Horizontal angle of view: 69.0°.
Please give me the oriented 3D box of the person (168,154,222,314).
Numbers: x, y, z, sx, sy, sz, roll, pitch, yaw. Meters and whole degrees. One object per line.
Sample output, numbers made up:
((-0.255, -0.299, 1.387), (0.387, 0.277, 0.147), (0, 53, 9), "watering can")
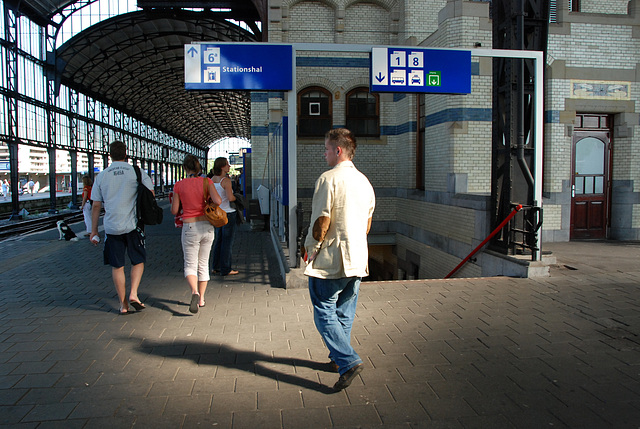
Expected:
((-1.942, 0.313, 7.349), (0.720, 2.400, 1.043), (-4, 14, -16), "person")

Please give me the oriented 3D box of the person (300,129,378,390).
((0.228, 0.490, 5.415), (0.736, 2.872, 0.881), (5, 14, 23), "person")

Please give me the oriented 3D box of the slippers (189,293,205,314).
((-1.901, 1.367, 7.133), (0.156, 0.350, 0.137), (7, -3, -1), "slippers")

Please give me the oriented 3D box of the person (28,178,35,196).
((-27.356, -2.507, 43.743), (0.317, 1.275, 1.146), (-8, 15, -29), "person")

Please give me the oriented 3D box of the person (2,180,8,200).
((-26.881, -1.950, 39.487), (0.495, 1.431, 2.926), (-9, 16, -35), "person")
